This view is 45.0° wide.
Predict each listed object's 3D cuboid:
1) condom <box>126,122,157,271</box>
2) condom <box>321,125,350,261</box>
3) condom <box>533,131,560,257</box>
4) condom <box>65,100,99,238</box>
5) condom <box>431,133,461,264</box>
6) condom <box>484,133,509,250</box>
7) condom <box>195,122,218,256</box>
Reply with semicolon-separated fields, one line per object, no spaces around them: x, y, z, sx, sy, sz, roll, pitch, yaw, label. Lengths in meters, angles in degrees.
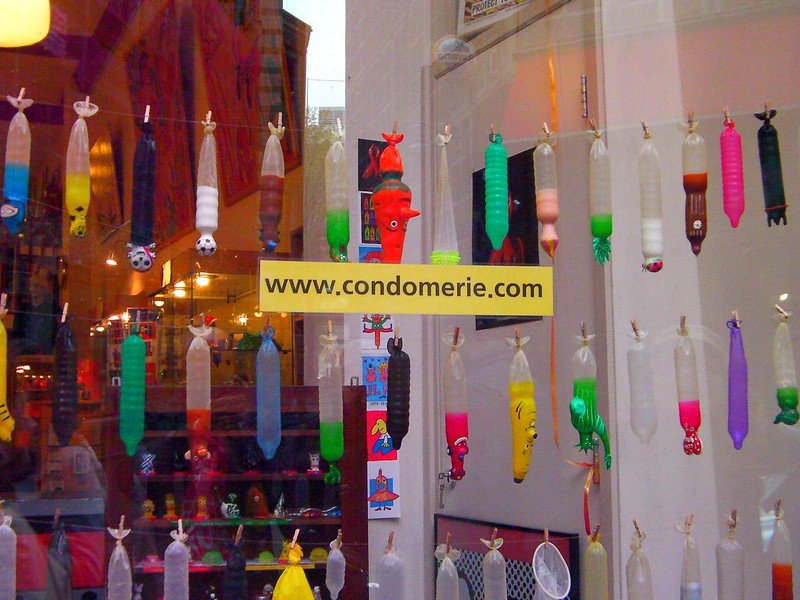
-0.782;-0.317;2.935;0.077;0.453;0.047;1;-6;-11;condom
-0.199;-0.324;2.969;0.064;0.437;0.068;1;6;20;condom
0.460;-0.350;3.050;0.078;0.432;0.043;2;-7;-23;condom
-0.970;-0.405;2.942;0.087;0.423;0.055;1;-6;-13;condom
0.139;-0.329;3.032;0.091;0.449;0.038;0;-6;-3;condom
0.305;-0.352;3.066;0.075;0.386;0.074;0;-1;-44;condom
-0.590;-0.362;2.955;0.070;0.456;0.048;2;-7;-18;condom
